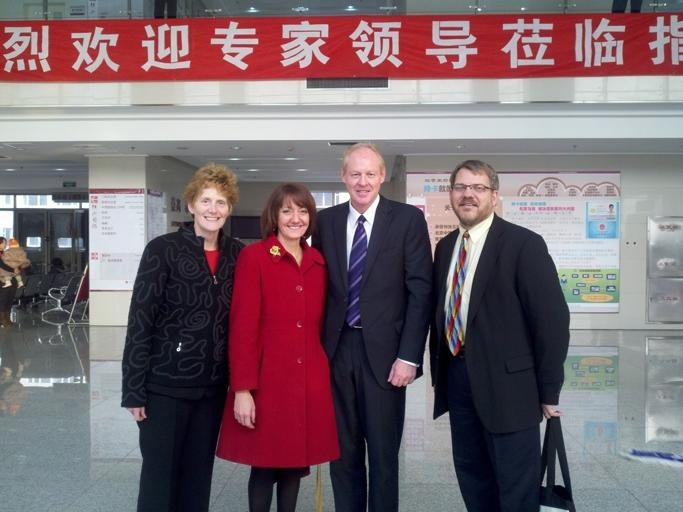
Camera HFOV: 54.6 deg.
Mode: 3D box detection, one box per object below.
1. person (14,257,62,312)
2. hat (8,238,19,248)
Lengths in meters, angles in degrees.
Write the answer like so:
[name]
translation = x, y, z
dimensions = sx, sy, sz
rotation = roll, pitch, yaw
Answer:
[person]
translation = -6.709, 0.660, 14.589
dimensions = 0.553, 0.712, 1.031
rotation = 8, 9, 19
[hat]
translation = -6.438, -0.208, 13.015
dimensions = 0.167, 0.237, 0.235
rotation = -1, 16, -17
